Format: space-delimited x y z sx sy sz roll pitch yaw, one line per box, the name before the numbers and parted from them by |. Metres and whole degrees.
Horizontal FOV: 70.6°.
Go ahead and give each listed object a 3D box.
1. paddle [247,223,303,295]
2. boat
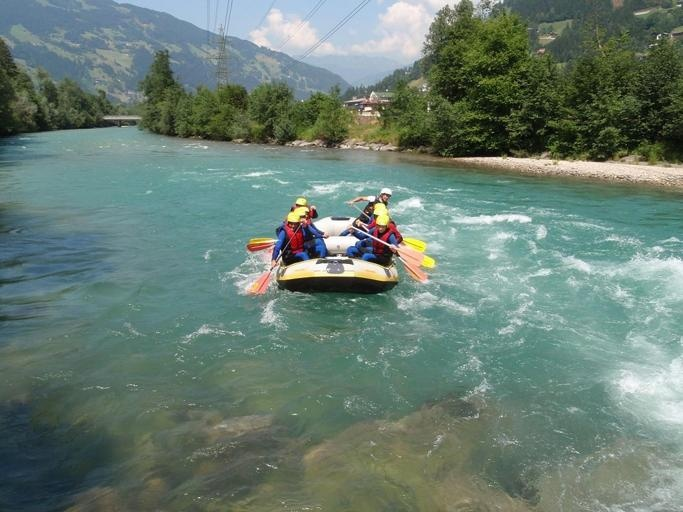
paddle | -1.666 -0.201 14.749 0.760 0.287 3.633 4 38 29
boat | -0.482 -0.045 15.345 3.545 1.302 4.596 -4 20 -21
